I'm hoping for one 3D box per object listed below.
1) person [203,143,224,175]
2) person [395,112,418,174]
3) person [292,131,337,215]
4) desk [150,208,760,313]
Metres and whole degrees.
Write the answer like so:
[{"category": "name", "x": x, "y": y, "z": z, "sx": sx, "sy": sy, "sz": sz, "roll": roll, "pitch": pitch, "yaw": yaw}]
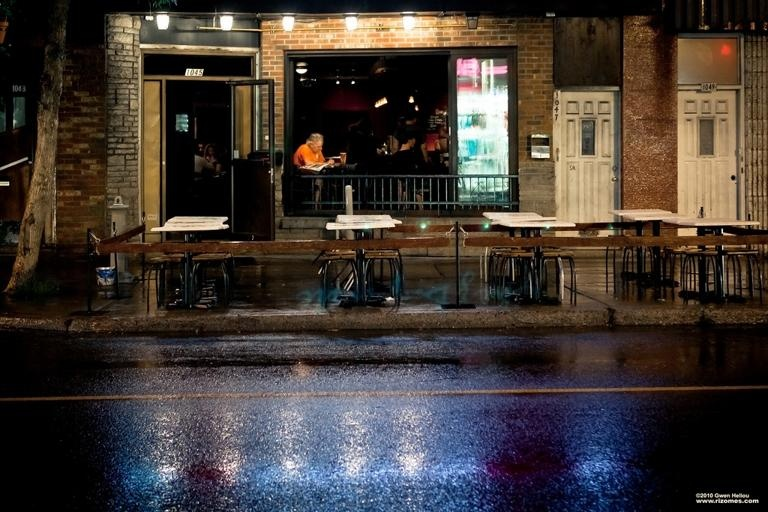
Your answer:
[{"category": "person", "x": -4.315, "y": -2.427, "z": 20.176, "sx": 0.515, "sy": 0.717, "sz": 0.250, "roll": -6, "pitch": 1, "yaw": -15}, {"category": "person", "x": 0.752, "y": -2.711, "z": 20.686, "sx": 0.650, "sy": 1.628, "sz": 0.397, "roll": 11, "pitch": 7, "yaw": 40}, {"category": "person", "x": -1.797, "y": -2.120, "z": 19.408, "sx": 0.890, "sy": 1.586, "sz": 0.716, "roll": 18, "pitch": 24, "yaw": 22}, {"category": "desk", "x": 1.268, "y": -0.073, "z": 13.927, "sx": 9.044, "sy": 1.425, "sz": 3.698, "roll": -1, "pitch": 9, "yaw": -3}]
